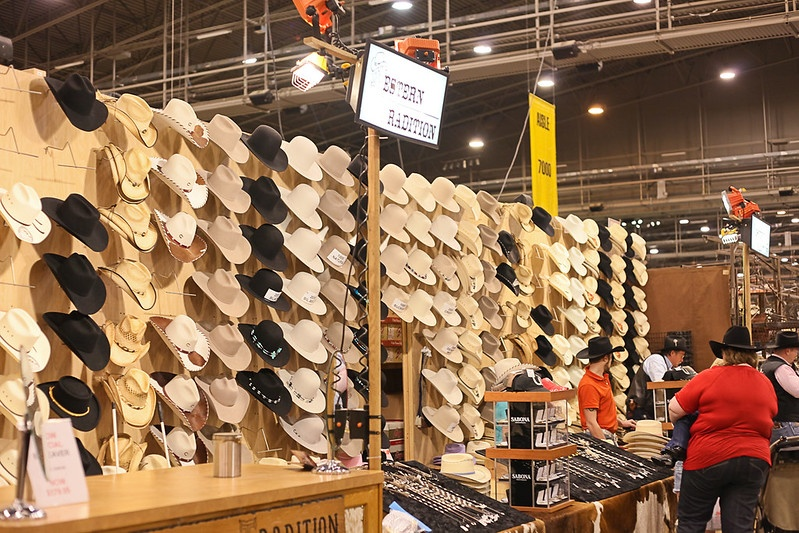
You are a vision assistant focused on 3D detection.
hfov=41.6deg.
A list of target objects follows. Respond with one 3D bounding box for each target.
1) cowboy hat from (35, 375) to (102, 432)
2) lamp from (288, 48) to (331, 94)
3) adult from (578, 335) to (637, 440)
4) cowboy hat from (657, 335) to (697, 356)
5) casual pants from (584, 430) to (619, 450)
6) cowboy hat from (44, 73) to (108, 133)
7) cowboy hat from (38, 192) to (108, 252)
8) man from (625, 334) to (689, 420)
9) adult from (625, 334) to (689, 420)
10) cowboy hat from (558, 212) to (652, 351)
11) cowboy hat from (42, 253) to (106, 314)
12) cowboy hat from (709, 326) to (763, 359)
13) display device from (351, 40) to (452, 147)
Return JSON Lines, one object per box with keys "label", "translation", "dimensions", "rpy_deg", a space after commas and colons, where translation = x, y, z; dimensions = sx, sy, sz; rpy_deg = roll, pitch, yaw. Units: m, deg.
{"label": "cowboy hat", "translation": [-2.696, 1.135, 8.584], "dimensions": [0.193, 0.510, 0.449], "rpy_deg": [-46, -33, 15]}
{"label": "lamp", "translation": [-0.776, -1.771, 9.320], "dimensions": [0.297, 0.256, 0.625], "rpy_deg": [1, -11, -23]}
{"label": "adult", "translation": [2.313, 1.394, 11.774], "dimensions": [0.454, 1.352, 0.481], "rpy_deg": [-5, 32, 9]}
{"label": "cowboy hat", "translation": [3.326, 0.940, 12.694], "dimensions": [0.464, 0.253, 0.567], "rpy_deg": [1, -5, 25]}
{"label": "casual pants", "translation": [2.073, 1.754, 10.757], "dimensions": [0.290, 0.119, 0.229], "rpy_deg": [20, 0, 29]}
{"label": "cowboy hat", "translation": [-2.728, -1.391, 8.917], "dimensions": [0.521, 0.500, 0.259], "rpy_deg": [1, -9, -22]}
{"label": "cowboy hat", "translation": [-2.716, -0.307, 8.815], "dimensions": [0.176, 0.508, 0.423], "rpy_deg": [-35, 10, 30]}
{"label": "man", "translation": [3.005, 1.330, 12.357], "dimensions": [0.389, 1.120, 0.371], "rpy_deg": [13, 35, 5]}
{"label": "adult", "translation": [3.005, 1.330, 12.357], "dimensions": [0.389, 1.120, 0.371], "rpy_deg": [13, 35, 5]}
{"label": "cowboy hat", "translation": [2.951, 0.121, 14.251], "dimensions": [0.447, 1.664, 1.581], "rpy_deg": [-22, -43, 28]}
{"label": "cowboy hat", "translation": [-2.649, 0.130, 8.704], "dimensions": [0.197, 0.547, 0.400], "rpy_deg": [-29, 10, 38]}
{"label": "cowboy hat", "translation": [3.431, 0.784, 10.840], "dimensions": [0.458, 0.261, 0.589], "rpy_deg": [5, -19, 12]}
{"label": "display device", "translation": [0.080, -1.343, 8.258], "dimensions": [0.844, 0.682, 0.203], "rpy_deg": [24, 26, 31]}
